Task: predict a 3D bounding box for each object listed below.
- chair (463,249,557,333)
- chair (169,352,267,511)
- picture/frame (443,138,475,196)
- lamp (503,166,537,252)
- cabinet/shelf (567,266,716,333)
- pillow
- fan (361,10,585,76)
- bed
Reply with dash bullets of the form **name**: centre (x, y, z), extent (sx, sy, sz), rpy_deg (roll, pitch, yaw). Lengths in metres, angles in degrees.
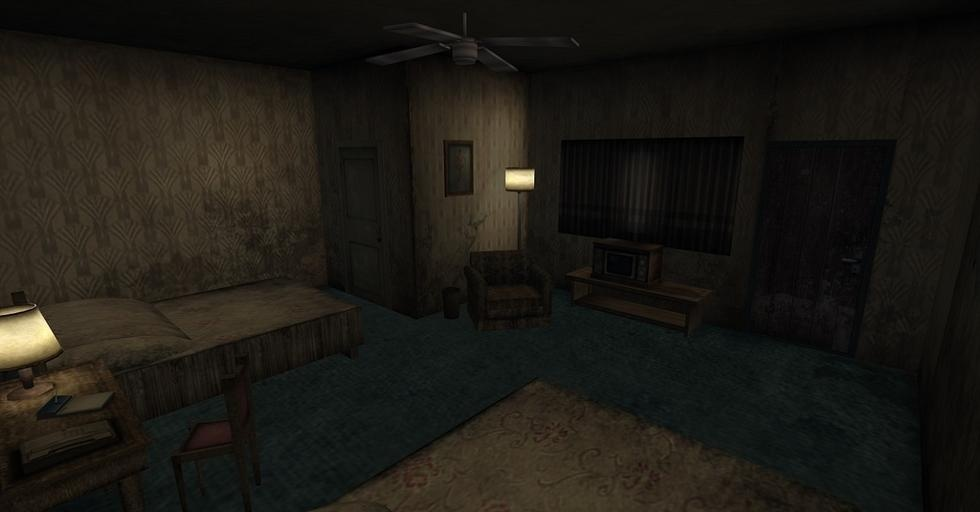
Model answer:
- **chair**: centre (0.299, 0.520, 8.695), extent (1.478, 0.942, 1.029), rpy_deg (-4, 20, -18)
- **chair**: centre (-3.132, 2.044, 5.948), extent (0.825, 1.747, 0.672), rpy_deg (-4, 16, -11)
- **picture/frame**: centre (-0.497, -1.528, 9.054), extent (0.113, 0.992, 0.856), rpy_deg (-9, 13, -42)
- **lamp**: centre (0.563, -0.862, 9.669), extent (0.477, 1.588, 0.957), rpy_deg (0, 15, 2)
- **cabinet/shelf**: centre (2.452, 0.716, 8.823), extent (2.195, 0.527, 0.740), rpy_deg (11, 18, 34)
- **pillow**: centre (-4.847, 1.000, 6.871), extent (1.278, 0.265, 1.288), rpy_deg (-6, 17, -41)
- **fan**: centre (-0.485, -2.874, 6.904), extent (2.182, 0.723, 2.213), rpy_deg (-3, 13, -11)
- **bed**: centre (-3.950, 1.101, 7.229), extent (3.457, 0.882, 1.945), rpy_deg (-11, 18, -42)
